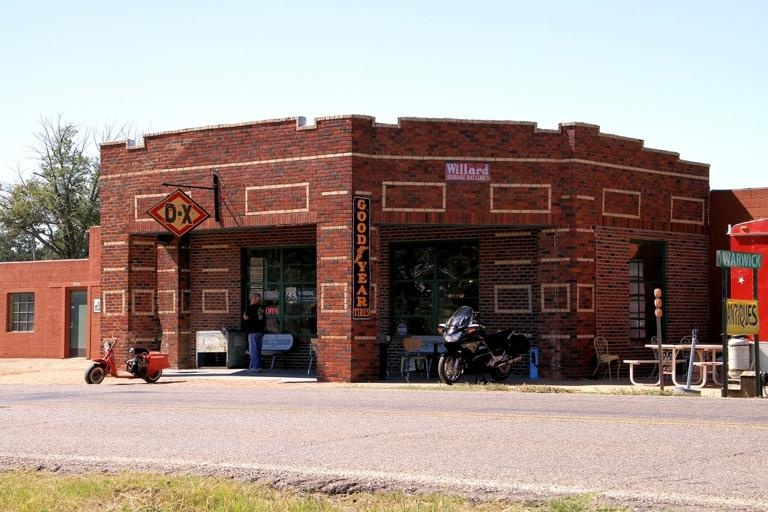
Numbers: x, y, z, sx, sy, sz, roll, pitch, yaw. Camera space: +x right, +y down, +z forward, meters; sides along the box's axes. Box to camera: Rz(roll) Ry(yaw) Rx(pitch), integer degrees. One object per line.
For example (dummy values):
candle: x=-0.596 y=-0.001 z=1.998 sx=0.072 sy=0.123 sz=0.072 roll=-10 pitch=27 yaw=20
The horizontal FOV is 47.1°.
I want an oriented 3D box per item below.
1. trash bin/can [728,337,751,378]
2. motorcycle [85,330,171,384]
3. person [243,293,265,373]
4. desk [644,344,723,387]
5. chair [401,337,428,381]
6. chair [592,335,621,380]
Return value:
trash bin/can: x=8.657 y=2.482 z=21.531 sx=0.583 sy=0.986 sz=0.610 roll=1 pitch=-6 yaw=-1
motorcycle: x=-7.229 y=2.933 z=25.582 sx=2.880 sy=1.744 sz=1.389 roll=4 pitch=-3 yaw=-3
person: x=-4.040 y=2.327 z=27.410 sx=0.600 sy=2.453 sz=1.350 roll=1 pitch=-9 yaw=-8
desk: x=8.675 y=2.767 z=24.005 sx=1.664 sy=0.830 sz=1.597 roll=1 pitch=18 yaw=-22
chair: x=0.940 y=2.984 z=26.113 sx=0.810 sy=1.201 sz=0.861 roll=-1 pitch=-5 yaw=12
chair: x=6.611 y=2.906 z=25.724 sx=0.569 sy=1.244 sz=1.289 roll=-8 pitch=-12 yaw=42
